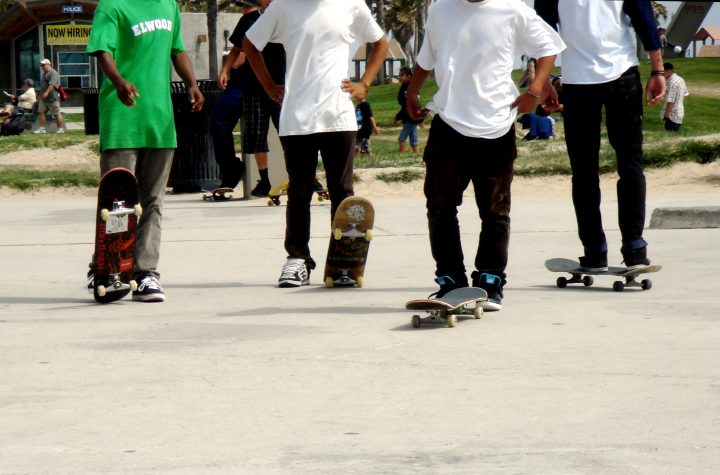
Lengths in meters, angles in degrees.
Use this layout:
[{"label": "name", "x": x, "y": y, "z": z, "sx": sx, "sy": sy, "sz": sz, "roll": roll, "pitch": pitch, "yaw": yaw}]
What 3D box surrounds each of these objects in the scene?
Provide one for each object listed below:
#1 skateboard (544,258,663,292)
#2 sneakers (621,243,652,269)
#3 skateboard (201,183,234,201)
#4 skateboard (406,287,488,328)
[{"label": "skateboard", "x": 1.865, "y": 0.288, "z": 9.315, "sx": 1.006, "sy": 0.162, "sz": 0.324, "roll": 3, "pitch": 8, "yaw": 39}, {"label": "sneakers", "x": 2.138, "y": 0.144, "z": 9.187, "sx": 0.222, "sy": 0.172, "sz": 0.161, "roll": 1, "pitch": 7, "yaw": 13}, {"label": "skateboard", "x": -1.843, "y": -0.564, "z": 15.342, "sx": 0.188, "sy": 0.182, "sz": 0.606, "roll": -2, "pitch": 6, "yaw": -42}, {"label": "skateboard", "x": 0.635, "y": 0.485, "z": 8.329, "sx": 0.260, "sy": 0.129, "sz": 0.597, "roll": 5, "pitch": 8, "yaw": 28}]
